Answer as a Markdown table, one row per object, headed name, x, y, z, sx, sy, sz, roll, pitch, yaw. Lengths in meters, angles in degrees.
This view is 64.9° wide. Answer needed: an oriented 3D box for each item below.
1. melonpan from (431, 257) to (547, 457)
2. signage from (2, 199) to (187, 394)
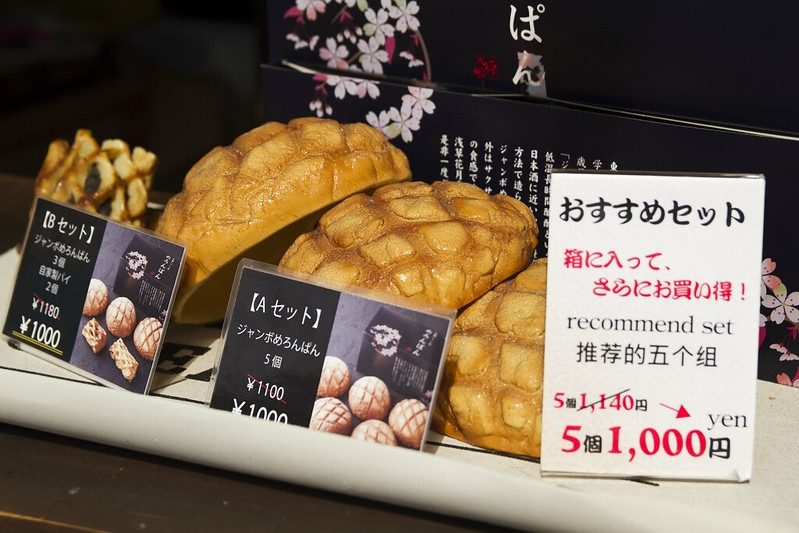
| name | x | y | z | sx | sy | sz | roll | pitch | yaw |
| --- | --- | --- | --- | --- | --- | --- | --- | --- | --- |
| melonpan | 0.202 | 0.184 | 1.226 | 0.251 | 0.340 | 0.103 | 24 | -2 | 27 |
| signage | -0.663 | 0.056 | 1.354 | 0.467 | 0.390 | 0.105 | 3 | -17 | 17 |
